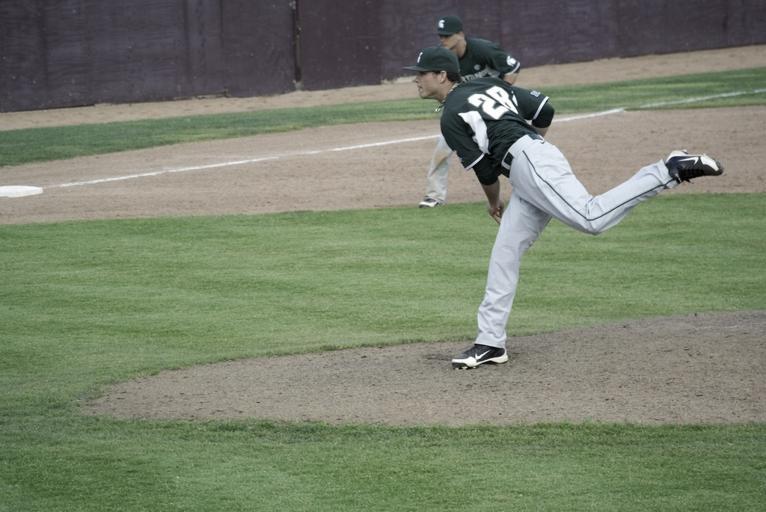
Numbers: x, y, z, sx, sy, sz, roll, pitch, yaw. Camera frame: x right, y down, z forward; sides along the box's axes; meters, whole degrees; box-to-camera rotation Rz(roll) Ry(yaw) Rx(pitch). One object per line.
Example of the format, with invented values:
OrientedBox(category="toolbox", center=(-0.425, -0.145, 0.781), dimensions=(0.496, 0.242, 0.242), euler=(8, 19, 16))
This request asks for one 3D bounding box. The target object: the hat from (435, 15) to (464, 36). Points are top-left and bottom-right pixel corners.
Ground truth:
OrientedBox(category="hat", center=(0.955, -3.332, 26.840), dimensions=(0.409, 0.169, 0.252), euler=(0, 21, -5))

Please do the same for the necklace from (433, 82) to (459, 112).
OrientedBox(category="necklace", center=(0.807, -2.065, 23.840), dimensions=(0.146, 0.343, 0.262), euler=(35, -4, 10))

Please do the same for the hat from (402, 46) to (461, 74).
OrientedBox(category="hat", center=(0.683, -2.530, 23.907), dimensions=(0.593, 0.230, 0.360), euler=(2, 12, 0))
